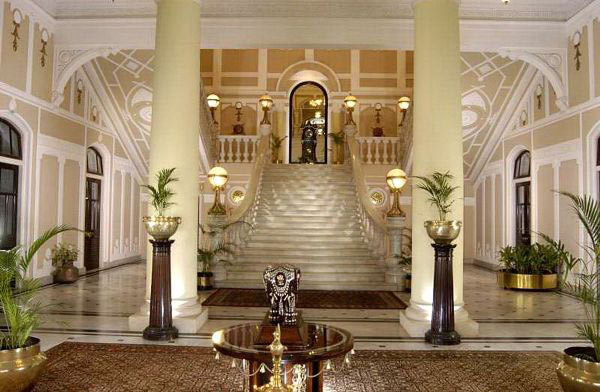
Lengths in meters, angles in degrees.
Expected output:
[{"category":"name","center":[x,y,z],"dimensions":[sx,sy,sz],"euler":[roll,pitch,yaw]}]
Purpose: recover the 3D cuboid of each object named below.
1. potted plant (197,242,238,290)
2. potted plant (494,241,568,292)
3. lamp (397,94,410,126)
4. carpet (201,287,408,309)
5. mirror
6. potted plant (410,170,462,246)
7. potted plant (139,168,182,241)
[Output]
[{"category":"potted plant","center":[-2.060,1.599,11.444],"dimensions":[0.959,0.979,1.008],"euler":[2,-2,8]},{"category":"potted plant","center":[5.441,1.651,12.252],"dimensions":[1.884,1.441,1.798],"euler":[0,-3,-1]},{"category":"lamp","center":[3.356,-2.727,15.727],"dimensions":[0.376,0.981,2.119],"euler":[2,6,12]},{"category":"carpet","center":[0.175,2.136,10.318],"dimensions":[3.996,0.114,1.636],"euler":[0,6,2]},{"category":"mirror","center":[0.317,-2.681,17.988],"dimensions":[1.399,2.906,0.888],"euler":[1,6,4]},{"category":"potted plant","center":[2.234,0.200,7.968],"dimensions":[0.767,1.170,0.693],"euler":[2,6,13]},{"category":"potted plant","center":[-2.243,0.137,7.977],"dimensions":[0.593,1.189,0.735],"euler":[-1,6,-13]}]
